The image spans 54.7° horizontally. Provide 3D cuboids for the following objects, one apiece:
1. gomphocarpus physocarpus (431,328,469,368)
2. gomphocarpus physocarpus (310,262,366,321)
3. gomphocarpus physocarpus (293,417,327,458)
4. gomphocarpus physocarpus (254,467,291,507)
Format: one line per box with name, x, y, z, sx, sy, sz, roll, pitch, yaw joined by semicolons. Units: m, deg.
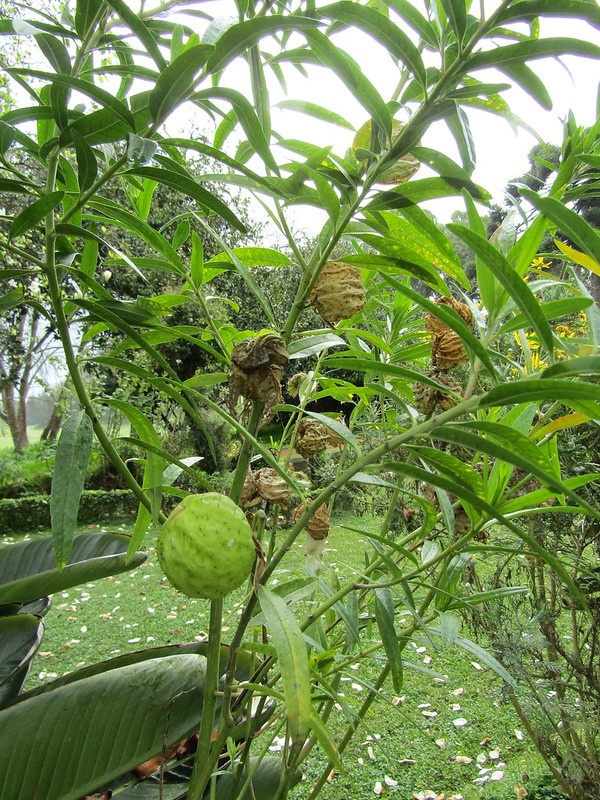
gomphocarpus physocarpus;0.193;-0.066;0.760;0.056;0.041;0.042;6;-12;-38
gomphocarpus physocarpus;0.045;-0.130;0.687;0.077;0.063;0.038;-7;-7;11
gomphocarpus physocarpus;0.019;0.061;0.920;0.055;0.034;0.062;6;-41;20
gomphocarpus physocarpus;-0.037;0.129;0.859;0.068;0.047;0.044;8;-9;45
